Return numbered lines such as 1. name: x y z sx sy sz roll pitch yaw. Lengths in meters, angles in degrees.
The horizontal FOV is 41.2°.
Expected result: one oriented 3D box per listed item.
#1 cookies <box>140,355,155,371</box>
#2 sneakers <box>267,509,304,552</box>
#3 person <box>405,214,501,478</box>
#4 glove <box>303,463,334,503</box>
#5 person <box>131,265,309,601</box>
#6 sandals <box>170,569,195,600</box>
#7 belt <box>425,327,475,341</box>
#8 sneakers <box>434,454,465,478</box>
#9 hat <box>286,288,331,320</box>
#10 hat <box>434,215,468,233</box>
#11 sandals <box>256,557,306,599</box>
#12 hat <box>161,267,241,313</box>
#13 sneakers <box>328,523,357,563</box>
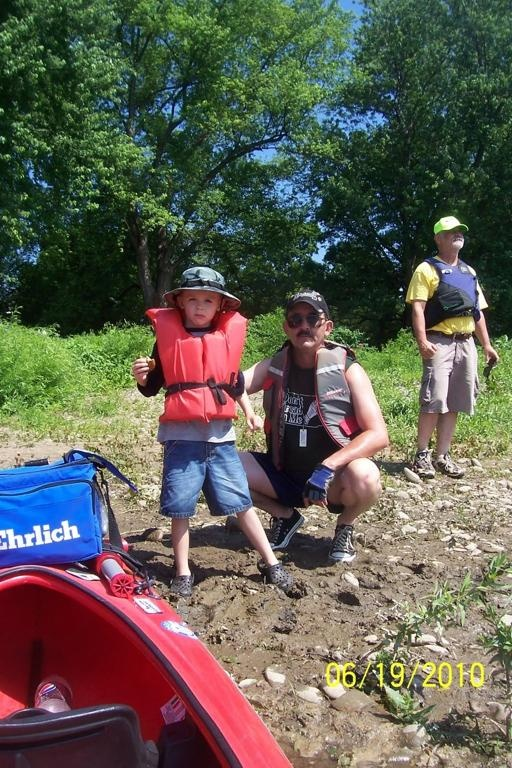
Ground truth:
1. cookies: -0.478 -0.091 2.985 0.056 0.040 0.014 22 -31 -32
2. sneakers: 0.146 0.785 3.691 0.133 0.289 0.097 41 -38 -8
3. person: 1.525 -0.286 5.417 0.691 2.052 0.569 4 7 17
4. glove: 0.302 0.450 3.058 0.118 0.175 0.064 10 -24 43
5. person: -0.208 0.199 3.018 0.670 1.424 0.514 1 7 -11
6. sandals: -0.315 0.858 2.878 0.102 0.070 0.189 1 -10 -2
7. belt: 1.496 -0.378 5.320 0.224 0.085 0.158 1 -5 6
8. sneakers: 1.559 0.648 5.470 0.120 0.134 0.295 -10 21 -32
9. hat: 0.259 -0.381 3.295 0.201 0.133 0.312 0 -5 4
10. hat: 1.495 -1.226 5.288 0.184 0.152 0.300 4 7 20
11. sandals: 0.108 0.857 2.996 0.090 0.089 0.221 -15 22 -39
12. hat: -0.232 -0.420 2.974 0.242 0.109 0.234 1 -22 3
13. sneakers: 0.435 0.815 3.438 0.161 0.161 0.423 0 -7 7
